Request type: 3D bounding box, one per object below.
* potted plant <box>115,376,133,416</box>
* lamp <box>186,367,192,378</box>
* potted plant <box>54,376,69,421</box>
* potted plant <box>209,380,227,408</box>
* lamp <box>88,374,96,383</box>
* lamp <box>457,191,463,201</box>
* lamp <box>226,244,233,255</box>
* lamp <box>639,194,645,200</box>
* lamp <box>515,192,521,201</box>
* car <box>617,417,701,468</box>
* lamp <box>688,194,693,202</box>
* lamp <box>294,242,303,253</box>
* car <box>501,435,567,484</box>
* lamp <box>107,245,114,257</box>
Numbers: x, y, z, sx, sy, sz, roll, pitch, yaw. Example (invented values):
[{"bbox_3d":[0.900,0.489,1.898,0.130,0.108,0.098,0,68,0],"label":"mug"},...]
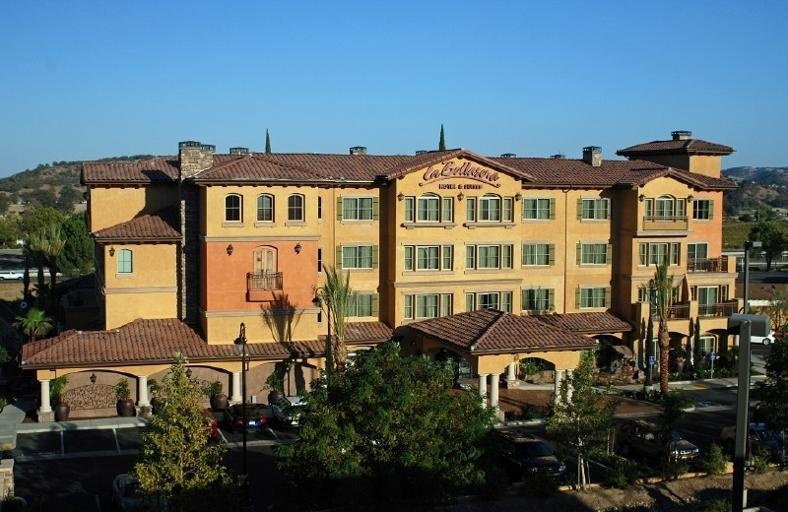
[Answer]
[{"bbox_3d":[-18.312,9.617,66.347,1.271,2.659,0.733,0,-3,-14],"label":"potted plant"},{"bbox_3d":[-14.134,8.029,67.230,0.383,0.676,1.249,0,-3,-8],"label":"lamp"},{"bbox_3d":[-22.418,9.571,65.384,1.167,2.934,0.866,0,-3,-9],"label":"potted plant"},{"bbox_3d":[-12.205,9.685,67.787,1.156,1.911,0.761,0,-3,-11],"label":"potted plant"},{"bbox_3d":[-20.372,8.305,65.988,0.399,0.693,0.179,0,-3,-17],"label":"lamp"},{"bbox_3d":[5.000,-4.503,72.684,0.553,0.782,0.569,-6,14,-25],"label":"lamp"},{"bbox_3d":[-11.454,-0.463,67.992,0.472,0.804,0.203,1,-3,-25],"label":"lamp"},{"bbox_3d":[19.158,-4.610,75.483,0.411,0.485,0.385,2,18,4],"label":"lamp"},{"bbox_3d":[9.437,-4.545,73.907,0.249,0.651,0.669,-4,-4,42],"label":"lamp"},{"bbox_3d":[16.177,11.632,60.961,2.500,1.882,4.409,-3,0,-34],"label":"car"},{"bbox_3d":[23.302,-4.600,76.692,0.501,0.451,0.415,-1,14,0],"label":"lamp"},{"bbox_3d":[-6.893,-0.577,69.133,0.739,0.797,0.613,-4,6,-43],"label":"lamp"},{"bbox_3d":[8.174,12.113,58.635,2.181,1.643,3.801,-1,-4,-21],"label":"car"},{"bbox_3d":[-20.014,-0.323,68.244,0.660,0.845,0.592,1,3,-22],"label":"lamp"}]
